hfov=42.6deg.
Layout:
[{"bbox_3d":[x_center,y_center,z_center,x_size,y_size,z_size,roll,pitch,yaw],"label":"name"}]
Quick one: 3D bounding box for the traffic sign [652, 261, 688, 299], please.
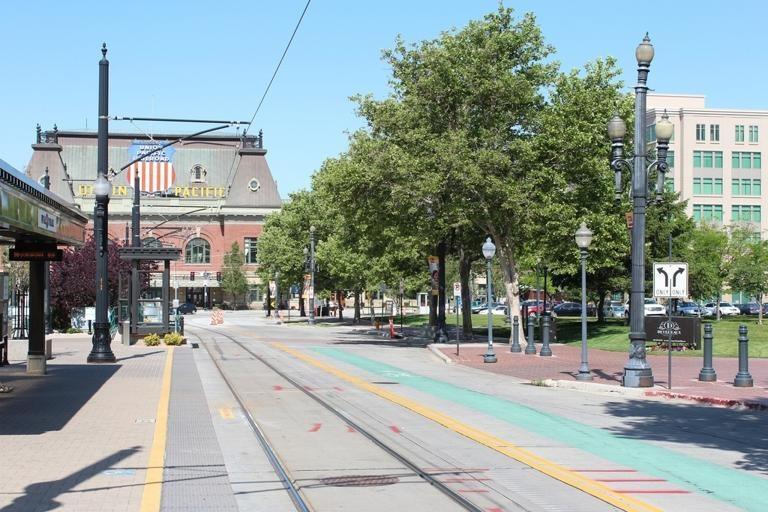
[{"bbox_3d":[8.406,0.738,29.003,0.952,1.089,1.163,-2,-6,15],"label":"traffic sign"}]
